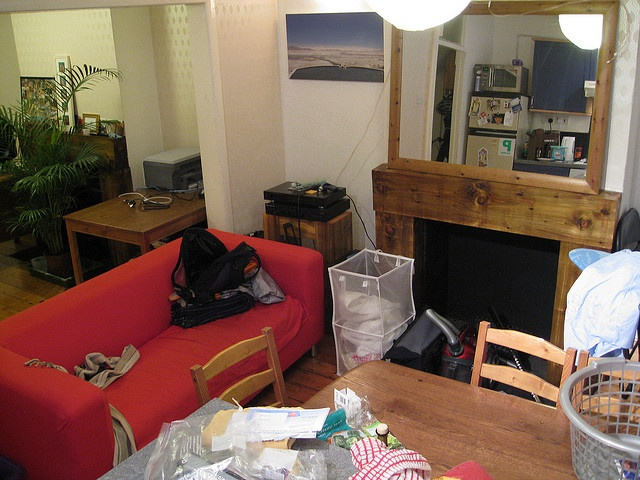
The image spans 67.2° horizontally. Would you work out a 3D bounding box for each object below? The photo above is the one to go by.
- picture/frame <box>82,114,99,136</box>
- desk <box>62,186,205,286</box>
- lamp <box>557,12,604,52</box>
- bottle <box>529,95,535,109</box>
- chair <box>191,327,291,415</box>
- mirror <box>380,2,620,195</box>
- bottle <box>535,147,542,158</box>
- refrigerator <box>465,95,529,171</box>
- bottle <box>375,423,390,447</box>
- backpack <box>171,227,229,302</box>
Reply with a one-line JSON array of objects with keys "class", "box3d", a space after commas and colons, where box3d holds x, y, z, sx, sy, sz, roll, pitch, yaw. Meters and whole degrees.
[{"class": "picture/frame", "box3d": [-2.351, -1.175, 4.925, 0.212, 0.253, 0.018, 7, 11, 30]}, {"class": "desk", "box3d": [-1.648, 0.164, 4.734, 0.949, 1.045, 1.073, 13, 32, 23]}, {"class": "lamp", "box3d": [1.607, -1.276, 2.930, 0.215, 0.228, 0.053, 35, 41, 29]}, {"class": "bottle", "box3d": [1.390, -0.907, 3.164, 0.015, 0.062, 0.061, 6, -1, -23]}, {"class": "chair", "box3d": [-0.449, 0.696, 2.593, 0.322, 0.612, 0.302, -26, 37, -26]}, {"class": "mirror", "box3d": [1.237, -0.927, 3.138, 1.164, 1.024, 0.060, 12, 24, 25]}, {"class": "bottle", "box3d": [1.450, -0.584, 3.189, 0.049, 0.093, 0.048, 2, 3, 0]}, {"class": "refrigerator", "box3d": [1.229, -0.745, 3.289, 0.324, 0.643, 0.291, 13, 24, 31]}, {"class": "bottle", "box3d": [0.232, 0.729, 1.803, 0.045, 0.099, 0.090, 1, 17, 6]}, {"class": "backpack", "box3d": [-0.868, 0.195, 3.460, 0.265, 0.532, 0.426, 9, 10, 26]}]
